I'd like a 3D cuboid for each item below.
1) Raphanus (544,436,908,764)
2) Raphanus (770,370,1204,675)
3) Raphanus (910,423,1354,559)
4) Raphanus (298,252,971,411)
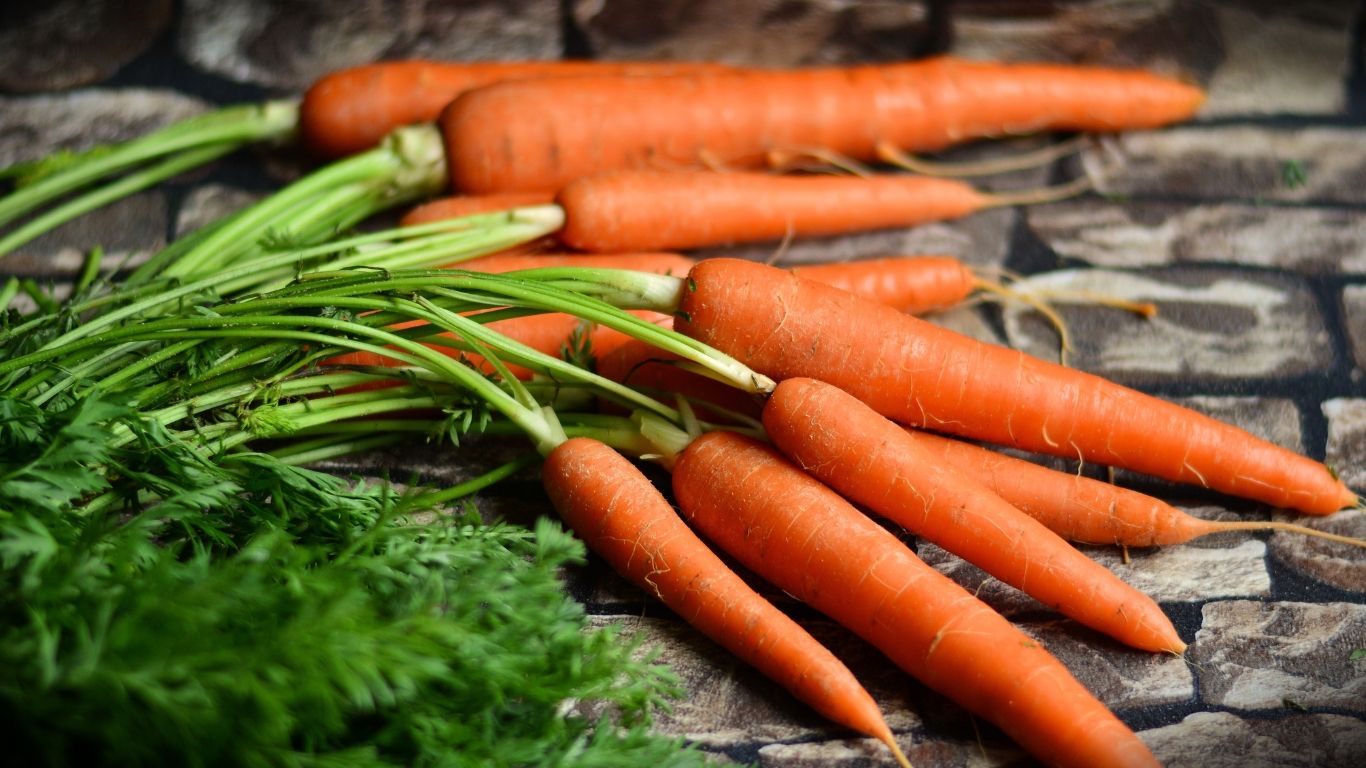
[{"bbox_3d":[0.085,0.380,1.939,0.862,0.164,0.167,29,15,15],"label":"Raphanus"},{"bbox_3d":[0.518,0.258,2.012,0.894,0.163,0.162,24,26,5],"label":"Raphanus"},{"bbox_3d":[0.798,0.202,2.075,0.691,0.078,0.083,12,36,2],"label":"Raphanus"},{"bbox_3d":[0.141,-0.098,2.153,0.962,0.134,0.140,12,29,28],"label":"Raphanus"}]
